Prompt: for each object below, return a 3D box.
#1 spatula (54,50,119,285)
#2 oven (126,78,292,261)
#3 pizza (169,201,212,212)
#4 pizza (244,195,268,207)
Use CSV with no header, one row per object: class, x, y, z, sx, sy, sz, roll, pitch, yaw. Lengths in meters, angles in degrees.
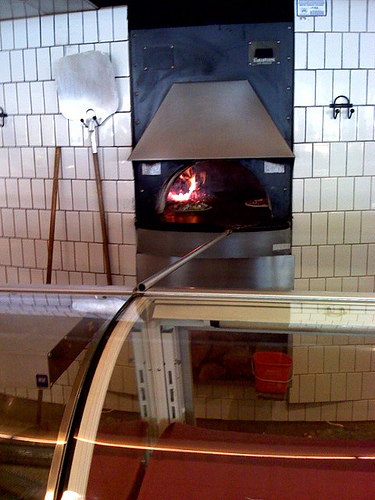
spatula,-0.496,-0.376,2.900,0.380,1.509,0.061,-7,2,9
oven,0.154,-0.498,2.908,0.901,0.830,0.773,-1,17,5
pizza,0.028,-0.253,2.920,0.226,0.073,0.213,2,5,-29
pizza,0.407,-0.280,2.922,0.151,0.050,0.048,5,12,13
